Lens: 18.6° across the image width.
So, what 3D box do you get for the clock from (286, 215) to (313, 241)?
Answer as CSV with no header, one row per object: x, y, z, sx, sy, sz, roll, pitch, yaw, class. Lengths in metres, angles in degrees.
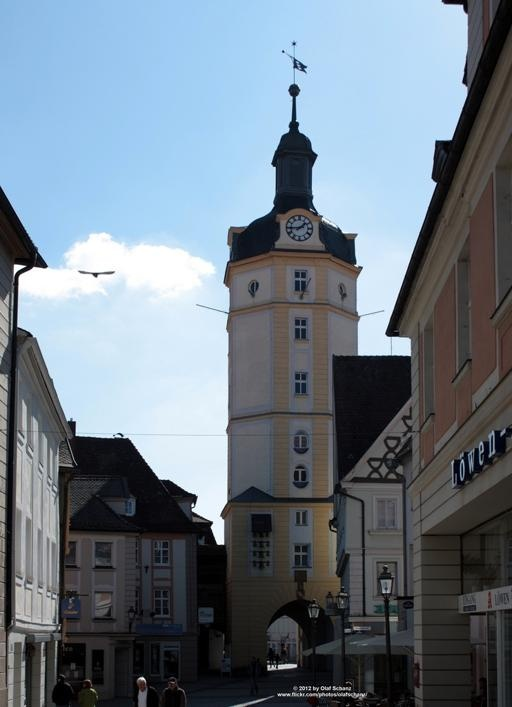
1.851,-5.634,69.709,0.774,1.173,0.072,3,-17,-9,clock
